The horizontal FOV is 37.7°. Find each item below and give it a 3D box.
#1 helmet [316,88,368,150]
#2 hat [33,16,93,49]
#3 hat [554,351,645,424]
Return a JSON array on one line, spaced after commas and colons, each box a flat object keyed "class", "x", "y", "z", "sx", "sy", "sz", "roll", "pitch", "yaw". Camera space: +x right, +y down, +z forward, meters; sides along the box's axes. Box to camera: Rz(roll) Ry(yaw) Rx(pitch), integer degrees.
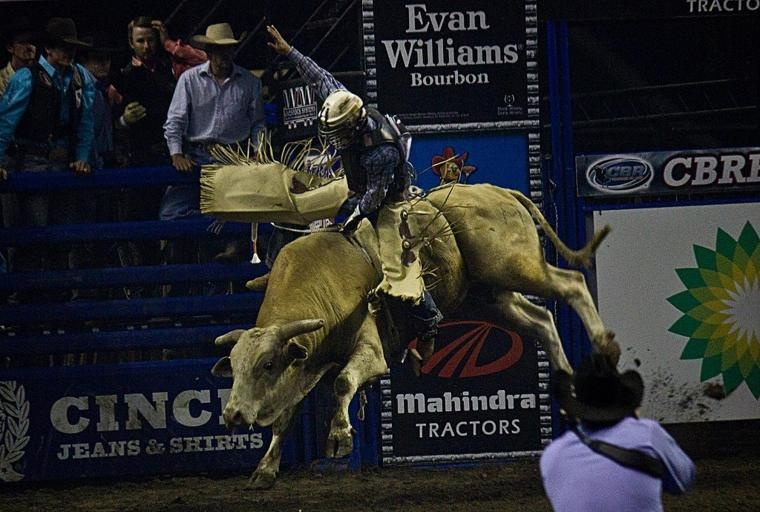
[{"class": "helmet", "x": -0.399, "y": -1.487, "z": 11.589, "sx": 0.489, "sy": 0.488, "sz": 0.623, "roll": -3, "pitch": 34, "yaw": 23}, {"class": "hat", "x": -3.586, "y": -2.601, "z": 12.963, "sx": 0.454, "sy": 0.178, "sz": 0.367, "roll": 2, "pitch": 3, "yaw": -37}, {"class": "hat", "x": 1.848, "y": 1.025, "z": 9.415, "sx": 0.817, "sy": 0.310, "sz": 0.834, "roll": 6, "pitch": 22, "yaw": 22}]
